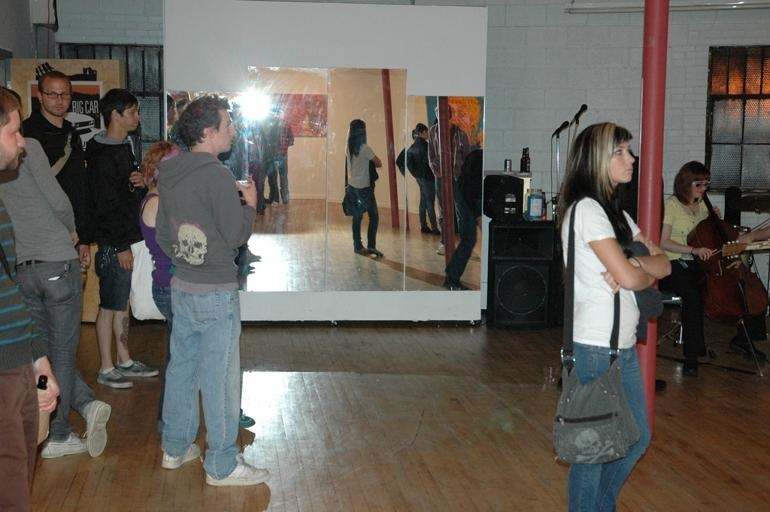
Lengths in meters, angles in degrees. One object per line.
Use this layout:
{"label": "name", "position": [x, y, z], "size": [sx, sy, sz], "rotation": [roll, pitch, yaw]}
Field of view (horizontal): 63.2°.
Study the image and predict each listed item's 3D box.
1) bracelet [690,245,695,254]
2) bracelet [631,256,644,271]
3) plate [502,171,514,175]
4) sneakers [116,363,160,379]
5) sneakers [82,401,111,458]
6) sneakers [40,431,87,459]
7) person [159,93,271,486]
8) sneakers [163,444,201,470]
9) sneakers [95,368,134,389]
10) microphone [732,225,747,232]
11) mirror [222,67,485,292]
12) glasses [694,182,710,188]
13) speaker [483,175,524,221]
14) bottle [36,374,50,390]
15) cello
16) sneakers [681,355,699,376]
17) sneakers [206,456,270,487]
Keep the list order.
{"label": "bracelet", "position": [2.826, -0.067, 5.733], "size": [0.025, 0.077, 0.031], "rotation": [-2, 14, 10]}
{"label": "bracelet", "position": [1.294, 0.034, 3.227], "size": [0.076, 0.049, 0.064], "rotation": [-7, 16, -30]}
{"label": "plate", "position": [1.520, -1.027, 7.707], "size": [0.132, 0.017, 0.401], "rotation": [4, 14, 11]}
{"label": "sneakers", "position": [-2.219, 1.018, 5.572], "size": [0.364, 0.139, 0.136], "rotation": [1, 4, -10]}
{"label": "sneakers", "position": [-1.949, 1.126, 4.268], "size": [0.194, 0.449, 0.158], "rotation": [12, 10, 43]}
{"label": "sneakers", "position": [-2.196, 1.297, 4.321], "size": [0.338, 0.139, 0.120], "rotation": [-3, 7, -23]}
{"label": "person", "position": [-1.095, 0.411, 3.901], "size": [0.710, 2.085, 0.350], "rotation": [7, 15, 23]}
{"label": "sneakers", "position": [-1.370, 1.355, 4.253], "size": [0.100, 0.115, 0.276], "rotation": [6, 11, 28]}
{"label": "sneakers", "position": [-2.339, 1.048, 5.378], "size": [0.300, 0.116, 0.149], "rotation": [6, 6, 16]}
{"label": "microphone", "position": [3.937, -0.316, 6.924], "size": [0.152, 0.065, 0.177], "rotation": [0, -2, -4]}
{"label": "mirror", "position": [-0.385, -0.954, 6.739], "size": [2.602, 2.213, 0.017], "rotation": [0, 6, -4]}
{"label": "glasses", "position": [2.990, -0.686, 5.919], "size": [0.109, 0.035, 0.107], "rotation": [-2, 9, -5]}
{"label": "speaker", "position": [1.400, -0.700, 7.382], "size": [0.492, 0.501, 0.394], "rotation": [3, 14, 10]}
{"label": "bottle", "position": [-1.543, 0.564, 2.803], "size": [0.058, 0.092, 0.059], "rotation": [10, 22, -4]}
{"label": "cello", "position": [3.130, 0.101, 5.684], "size": [0.719, 0.920, 0.405], "rotation": [8, 15, 25]}
{"label": "sneakers", "position": [2.831, 1.038, 5.885], "size": [0.101, 0.207, 0.218], "rotation": [0, -1, 2]}
{"label": "sneakers", "position": [-0.939, 1.375, 4.084], "size": [0.422, 0.195, 0.167], "rotation": [1, 0, -10]}
